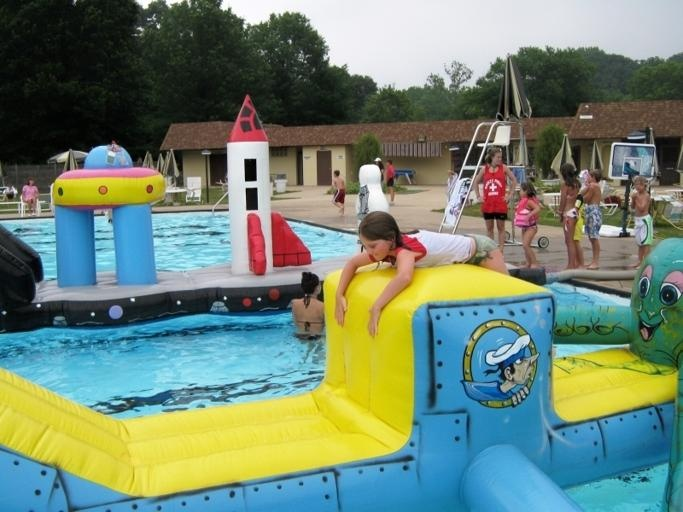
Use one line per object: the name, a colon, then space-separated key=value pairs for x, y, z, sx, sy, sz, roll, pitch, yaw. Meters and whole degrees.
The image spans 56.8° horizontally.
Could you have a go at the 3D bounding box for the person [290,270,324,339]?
person: x=-0.387 y=0.562 z=7.520 sx=0.355 sy=0.890 sz=0.951 roll=0 pitch=9 yaw=-3

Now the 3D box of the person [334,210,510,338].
person: x=0.679 y=0.051 z=4.415 sx=1.340 sy=0.822 sz=0.671 roll=-9 pitch=12 yaw=-27

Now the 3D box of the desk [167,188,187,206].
desk: x=-7.177 y=-2.617 z=27.694 sx=1.189 sy=0.454 sz=1.235 roll=-3 pitch=11 yaw=-11
